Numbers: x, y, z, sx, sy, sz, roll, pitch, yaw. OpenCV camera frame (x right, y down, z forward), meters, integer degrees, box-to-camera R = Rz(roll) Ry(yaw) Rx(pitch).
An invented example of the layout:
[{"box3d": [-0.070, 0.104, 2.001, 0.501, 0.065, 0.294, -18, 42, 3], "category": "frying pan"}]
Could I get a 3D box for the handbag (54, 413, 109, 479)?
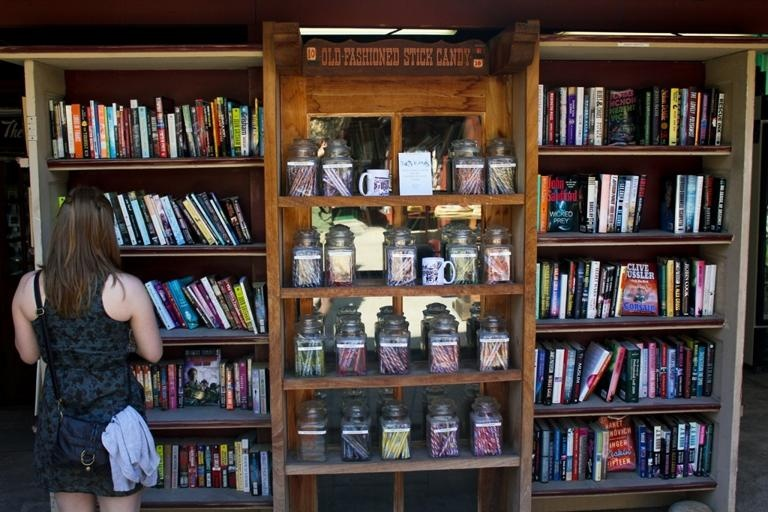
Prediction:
[{"box3d": [-1.594, 0.982, 3.801, 0.273, 0.295, 0.118, 4, 4, -2], "category": "handbag"}]
